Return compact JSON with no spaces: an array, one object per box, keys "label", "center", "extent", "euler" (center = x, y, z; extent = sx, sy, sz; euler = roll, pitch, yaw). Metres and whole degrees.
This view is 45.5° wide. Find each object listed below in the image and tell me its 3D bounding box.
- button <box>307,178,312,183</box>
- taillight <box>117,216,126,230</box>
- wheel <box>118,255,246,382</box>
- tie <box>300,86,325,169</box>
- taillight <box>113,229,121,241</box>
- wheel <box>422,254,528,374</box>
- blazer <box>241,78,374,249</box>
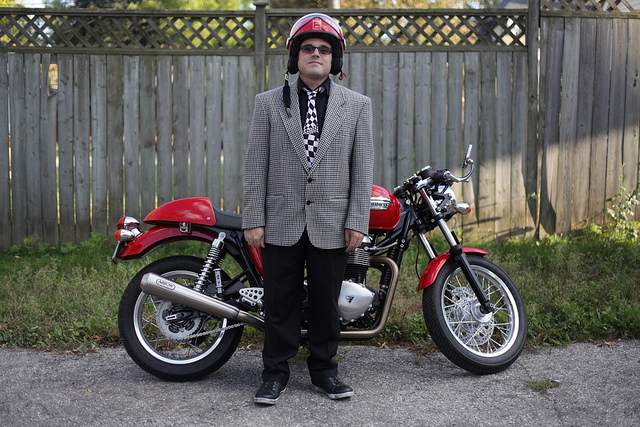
[{"label":"button","center":[-0.098,-0.303,7.068],"extent":[0.026,0.038,0.007],"euler":[1,8,-4]},{"label":"taillight","center":[-1.938,0.097,7.418],"extent":[0.071,0.113,0.108],"euler":[2,-11,-20]},{"label":"wheel","center":[-1.318,1.049,7.349],"extent":[0.825,1.194,0.190],"euler":[1,-2,1]},{"label":"tie","center":[-0.067,-0.803,7.113],"extent":[0.205,0.729,0.126],"euler":[0,4,-3]},{"label":"taillight","center":[-1.959,0.216,7.363],"extent":[0.060,0.118,0.119],"euler":[-2,6,-17]},{"label":"wheel","center":[1.495,1.038,7.510],"extent":[0.749,1.063,0.280],"euler":[-2,-9,-14]},{"label":"blazer","center":[-0.116,-0.605,7.190],"extent":[1.178,1.831,0.697],"euler":[2,45,-2]}]
